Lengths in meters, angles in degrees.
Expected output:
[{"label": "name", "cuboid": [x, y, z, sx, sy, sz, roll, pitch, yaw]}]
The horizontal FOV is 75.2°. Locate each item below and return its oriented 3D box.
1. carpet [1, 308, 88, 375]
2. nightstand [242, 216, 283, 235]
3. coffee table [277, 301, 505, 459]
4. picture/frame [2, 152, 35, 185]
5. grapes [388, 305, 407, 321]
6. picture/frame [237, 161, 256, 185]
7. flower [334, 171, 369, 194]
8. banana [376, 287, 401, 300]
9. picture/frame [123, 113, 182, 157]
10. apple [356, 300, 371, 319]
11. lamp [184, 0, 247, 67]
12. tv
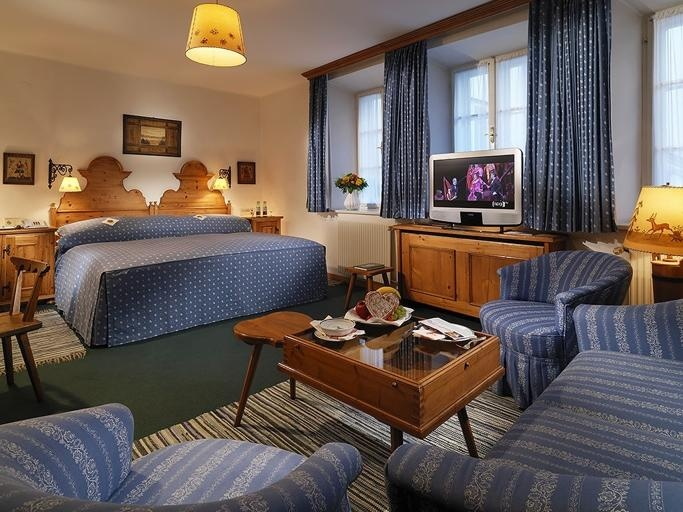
[{"label": "carpet", "cuboid": [-2.458, 0.733, 3.667, 0.434, 0.048, 0.604, -6, 17, -39]}, {"label": "nightstand", "cuboid": [-1.178, -0.468, 6.641, 0.484, 0.482, 0.306, -4, 6, -41]}, {"label": "coffee table", "cuboid": [0.347, 0.547, 2.242, 0.892, 0.458, 0.651, 6, 10, 44]}, {"label": "picture/frame", "cuboid": [-3.638, -0.982, 4.953, 0.033, 0.479, 0.398, 2, 2, 44]}, {"label": "grapes", "cuboid": [0.322, 0.342, 2.604, 0.085, 0.042, 0.086, -29, 0, 18]}, {"label": "picture/frame", "cuboid": [-1.492, -1.281, 6.825, 0.055, 0.422, 0.387, 3, 4, 41]}, {"label": "flower", "cuboid": [0.137, -0.915, 5.662, 0.317, 0.216, 0.316, 2, 5, 10]}, {"label": "banana", "cuboid": [0.275, 0.220, 2.648, 0.127, 0.049, 0.097, 3, 12, 12]}, {"label": "picture/frame", "cuboid": [-2.546, -1.605, 5.853, 0.671, 0.475, 0.049, -3, 5, -40]}, {"label": "apple", "cuboid": [0.120, 0.325, 2.652, 0.096, 0.098, 0.100, -2, 20, 30]}, {"label": "lamp", "cuboid": [-0.913, -1.632, 3.164, 0.404, 0.451, 0.446, -3, 12, -14]}, {"label": "tv", "cuboid": [1.313, -0.622, 4.271, 0.088, 0.645, 0.862, -5, 7, -41]}]
